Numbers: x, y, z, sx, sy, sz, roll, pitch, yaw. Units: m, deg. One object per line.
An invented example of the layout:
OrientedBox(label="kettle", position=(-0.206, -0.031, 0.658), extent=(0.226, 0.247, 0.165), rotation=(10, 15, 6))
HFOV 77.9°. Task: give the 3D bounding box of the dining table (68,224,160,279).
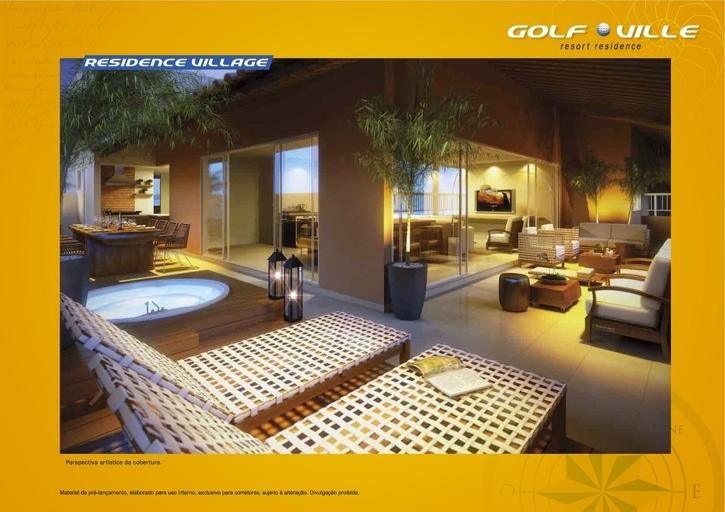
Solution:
OrientedBox(label="dining table", position=(-4.641, -0.118, 8.625), extent=(1.364, 0.940, 0.817), rotation=(-4, 6, -35))

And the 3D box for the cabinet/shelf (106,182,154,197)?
OrientedBox(label="cabinet/shelf", position=(-7.154, -2.116, 13.819), extent=(0.655, 0.511, 1.804), rotation=(0, 5, 4))

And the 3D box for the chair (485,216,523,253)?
OrientedBox(label="chair", position=(3.723, -0.537, 11.786), extent=(0.806, 0.968, 0.978), rotation=(1, 3, 36))

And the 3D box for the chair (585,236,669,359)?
OrientedBox(label="chair", position=(2.925, 0.539, 4.953), extent=(0.792, 1.080, 0.457), rotation=(2, 6, 30))

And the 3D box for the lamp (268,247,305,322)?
OrientedBox(label="lamp", position=(-1.053, 0.429, 6.137), extent=(0.260, 0.864, 0.882), rotation=(-1, 5, -25))

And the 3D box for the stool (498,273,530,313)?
OrientedBox(label="stool", position=(2.115, 0.513, 6.368), extent=(0.472, 0.546, 0.478), rotation=(-1, 0, -12))

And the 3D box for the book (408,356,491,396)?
OrientedBox(label="book", position=(0.693, 0.964, 3.546), extent=(0.284, 0.086, 0.403), rotation=(-4, 8, -23))

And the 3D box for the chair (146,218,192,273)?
OrientedBox(label="chair", position=(-4.159, -0.206, 9.628), extent=(0.422, 0.791, 1.134), rotation=(-1, 4, -36))

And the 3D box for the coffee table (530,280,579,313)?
OrientedBox(label="coffee table", position=(2.728, 0.554, 6.434), extent=(0.421, 0.292, 0.575), rotation=(3, 6, 41))
